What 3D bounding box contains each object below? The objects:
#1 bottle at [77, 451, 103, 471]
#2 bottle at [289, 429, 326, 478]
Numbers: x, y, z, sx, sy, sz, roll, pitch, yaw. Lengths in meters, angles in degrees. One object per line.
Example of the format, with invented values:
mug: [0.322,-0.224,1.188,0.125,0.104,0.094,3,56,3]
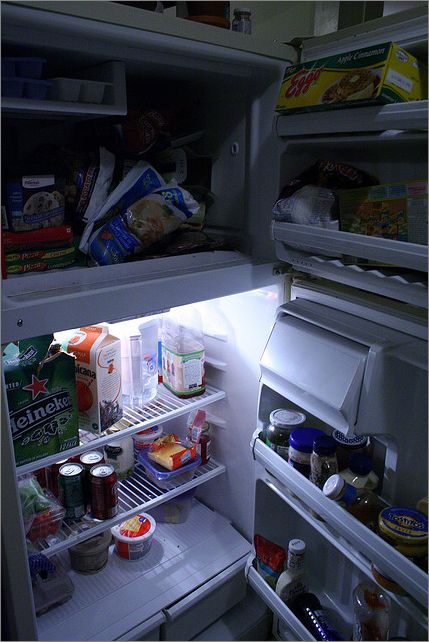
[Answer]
bottle: [-0.324,0.362,1.209,0.036,0.039,0.037,1,11,-9]
bottle: [0.194,0.284,1.057,0.087,0.098,0.085,-2,14,-21]
